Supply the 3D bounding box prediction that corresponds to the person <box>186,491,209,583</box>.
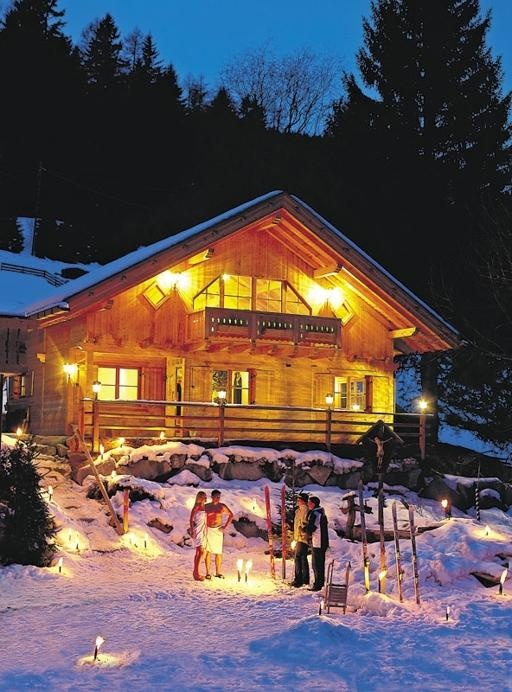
[{"bbox_3d":[-0.998,3.282,11.872,0.309,1.228,0.861,4,-2,-5],"label":"person"}]
